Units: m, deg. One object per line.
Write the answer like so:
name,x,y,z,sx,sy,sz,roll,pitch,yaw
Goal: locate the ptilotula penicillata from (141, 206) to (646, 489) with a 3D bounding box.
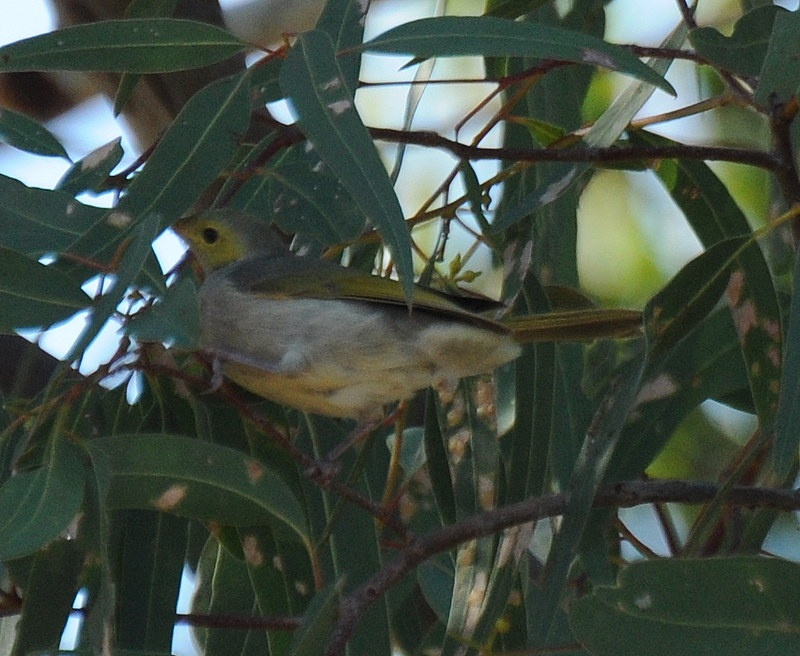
ptilotula penicillata,-0.032,0.032,2.524,0.868,0.483,0.287,4,-42,2
